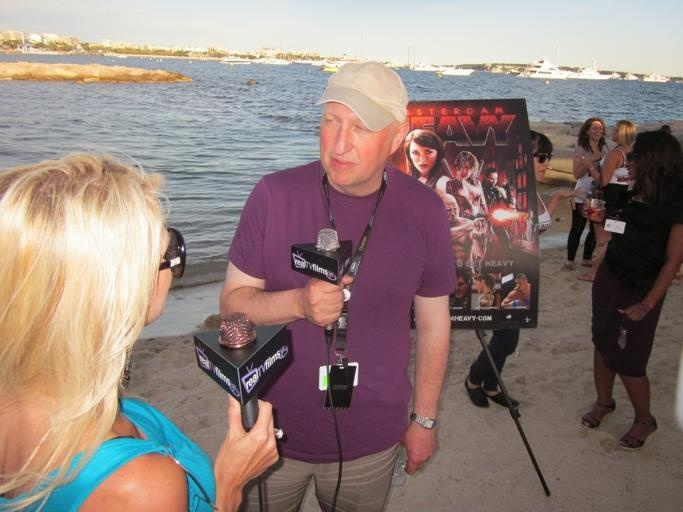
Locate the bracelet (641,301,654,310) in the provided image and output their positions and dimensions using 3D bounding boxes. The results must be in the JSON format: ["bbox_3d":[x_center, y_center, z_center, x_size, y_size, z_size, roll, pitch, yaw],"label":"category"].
[{"bbox_3d":[2.274,0.371,3.938,0.054,0.051,0.013,30,47,-19],"label":"bracelet"}]

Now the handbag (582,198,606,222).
[{"bbox_3d":[2.183,-0.418,4.714,0.211,0.203,0.186,-25,29,-30],"label":"handbag"}]

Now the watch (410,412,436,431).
[{"bbox_3d":[0.387,0.798,2.625,0.120,0.068,0.114,19,-11,-31],"label":"watch"}]

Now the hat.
[{"bbox_3d":[0.110,-0.685,2.353,0.300,0.202,0.404,16,18,17],"label":"hat"}]

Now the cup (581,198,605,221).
[{"bbox_3d":[2.178,-0.418,4.716,0.203,0.199,0.203,-1,12,0],"label":"cup"}]

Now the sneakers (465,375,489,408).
[{"bbox_3d":[1.275,1.308,5.048,0.125,0.125,0.318,-15,55,-17],"label":"sneakers"}]
